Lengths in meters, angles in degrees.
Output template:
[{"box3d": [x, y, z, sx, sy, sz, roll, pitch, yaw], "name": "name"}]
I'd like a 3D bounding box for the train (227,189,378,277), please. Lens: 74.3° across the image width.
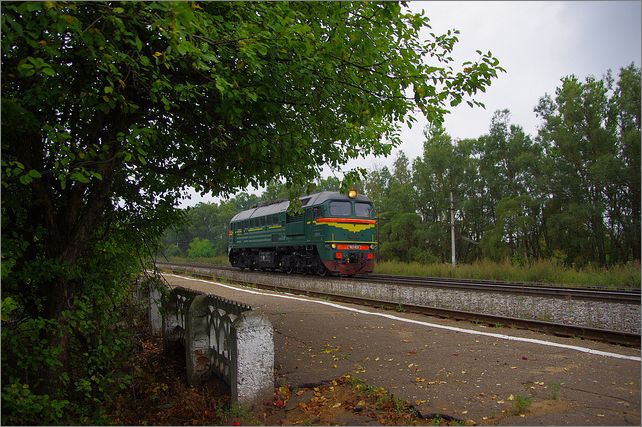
[{"box3d": [-2.143, 1.384, 26.009, 3.039, 4.714, 13.265, 3, -6, -35], "name": "train"}]
